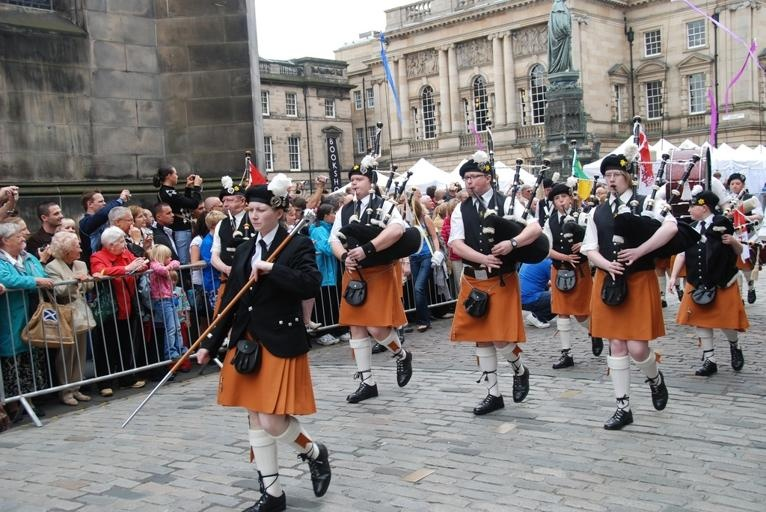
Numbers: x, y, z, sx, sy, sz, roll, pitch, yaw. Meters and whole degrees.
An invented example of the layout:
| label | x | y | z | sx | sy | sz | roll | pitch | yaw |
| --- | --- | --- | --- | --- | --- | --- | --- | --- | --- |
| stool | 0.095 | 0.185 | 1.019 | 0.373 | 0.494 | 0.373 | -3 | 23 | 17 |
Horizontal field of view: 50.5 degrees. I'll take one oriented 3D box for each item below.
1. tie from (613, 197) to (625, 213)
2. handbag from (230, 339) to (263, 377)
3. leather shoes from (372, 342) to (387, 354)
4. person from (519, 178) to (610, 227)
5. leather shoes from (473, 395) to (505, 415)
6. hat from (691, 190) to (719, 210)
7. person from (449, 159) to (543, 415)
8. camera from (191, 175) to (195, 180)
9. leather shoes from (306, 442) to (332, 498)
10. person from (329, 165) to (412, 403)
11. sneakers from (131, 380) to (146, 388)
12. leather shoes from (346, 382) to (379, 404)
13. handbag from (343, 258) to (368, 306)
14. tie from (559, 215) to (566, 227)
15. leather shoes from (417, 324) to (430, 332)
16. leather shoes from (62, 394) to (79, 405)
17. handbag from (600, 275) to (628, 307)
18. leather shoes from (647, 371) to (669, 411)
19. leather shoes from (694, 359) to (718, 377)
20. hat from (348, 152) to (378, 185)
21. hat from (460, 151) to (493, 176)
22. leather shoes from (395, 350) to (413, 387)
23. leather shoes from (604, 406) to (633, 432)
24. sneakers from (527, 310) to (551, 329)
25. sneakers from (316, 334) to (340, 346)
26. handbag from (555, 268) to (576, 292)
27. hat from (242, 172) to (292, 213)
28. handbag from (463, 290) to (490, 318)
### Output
| label | x | y | z | sx | sy | sz | roll | pitch | yaw |
| --- | --- | --- | --- | --- | --- | --- | --- | --- | --- |
| tie | 2.591 | -0.531 | 8.896 | 0.141 | 0.138 | 0.076 | 6 | -7 | -18 |
| handbag | -1.247 | 0.924 | 7.491 | 0.251 | 0.304 | 0.195 | 7 | 17 | 40 |
| leather shoes | -0.063 | 1.387 | 12.283 | 0.145 | 0.124 | 0.384 | -2 | -9 | 26 |
| person | 2.776 | -0.800 | 12.644 | 1.282 | 0.529 | 1.558 | -2 | 9 | 7 |
| leather shoes | 1.223 | 1.678 | 9.316 | 0.433 | 0.132 | 0.161 | 1 | -1 | -45 |
| hat | 4.279 | -0.712 | 10.706 | 0.357 | 0.209 | 0.226 | 5 | 5 | 10 |
| person | 1.314 | 0.284 | 9.342 | 1.142 | 2.887 | 0.950 | -3 | 14 | 7 |
| camera | -2.972 | -1.208 | 12.806 | 0.076 | 0.071 | 0.078 | 2 | -17 | 5 |
| leather shoes | -0.578 | 1.987 | 7.668 | 0.219 | 0.486 | 0.233 | -14 | -11 | 28 |
| person | -0.142 | 0.256 | 10.045 | 0.985 | 2.871 | 1.085 | -2 | 14 | 12 |
| sneakers | -3.291 | 1.705 | 10.945 | 0.116 | 0.096 | 0.291 | 1 | -2 | -3 |
| leather shoes | -0.235 | 1.627 | 9.919 | 0.222 | 0.186 | 0.514 | 8 | 15 | 44 |
| handbag | -0.333 | 0.415 | 10.024 | 0.294 | 0.439 | 0.240 | -3 | 13 | 5 |
| tie | 2.570 | -0.480 | 11.527 | 0.117 | 0.114 | 0.116 | -2 | 20 | 5 |
| leather shoes | 0.680 | 1.184 | 13.407 | 0.091 | 0.077 | 0.233 | -9 | -13 | 22 |
| leather shoes | -3.932 | 1.790 | 10.228 | 0.191 | 0.120 | 0.188 | -8 | 12 | -21 |
| handbag | 2.540 | 0.383 | 8.857 | 0.279 | 0.343 | 0.199 | -1 | 14 | 12 |
| leather shoes | 3.096 | 1.493 | 9.005 | 0.264 | 0.467 | 0.189 | 9 | -24 | -28 |
| leather shoes | 4.082 | 1.386 | 10.215 | 0.248 | 0.186 | 0.241 | 1 | 13 | 20 |
| hat | -0.187 | -1.083 | 10.194 | 0.422 | 0.330 | 0.399 | 9 | -10 | 8 |
| hat | 1.092 | -1.030 | 9.319 | 0.349 | 0.167 | 0.342 | -1 | -2 | -8 |
| leather shoes | 0.213 | 1.414 | 10.304 | 0.201 | 0.431 | 0.247 | 5 | -3 | 38 |
| leather shoes | 2.464 | 1.735 | 8.694 | 0.456 | 0.152 | 0.148 | -2 | -3 | -38 |
| sneakers | 2.561 | 1.065 | 13.433 | 0.466 | 0.175 | 0.179 | 23 | 22 | 8 |
| sneakers | -0.862 | 1.334 | 12.964 | 0.280 | 0.086 | 0.184 | 4 | 3 | 19 |
| handbag | 2.537 | 0.345 | 11.196 | 0.272 | 0.279 | 0.130 | -3 | -13 | 24 |
| hat | -1.020 | -0.573 | 7.552 | 0.424 | 0.218 | 0.332 | -2 | 2 | 38 |
| handbag | 1.093 | 0.552 | 9.263 | 0.330 | 0.275 | 0.153 | 17 | 4 | 31 |
